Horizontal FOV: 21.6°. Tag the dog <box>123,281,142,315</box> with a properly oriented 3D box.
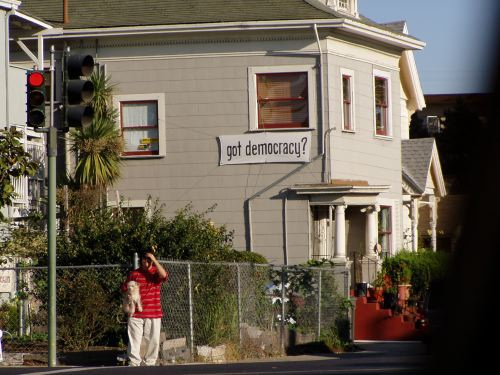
[{"bbox_3d":[-2.586,2.373,28.728,0.352,0.700,0.677,1,-15,-15],"label":"dog"}]

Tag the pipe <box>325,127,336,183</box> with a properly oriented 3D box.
[{"bbox_3d":[2.347,-1.009,39.346,0.239,1.606,0.245,-1,-6,3],"label":"pipe"}]

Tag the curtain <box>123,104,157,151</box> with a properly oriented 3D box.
[{"bbox_3d":[-3.371,-1.886,40.083,1.035,1.445,0.165,-1,-6,5],"label":"curtain"}]

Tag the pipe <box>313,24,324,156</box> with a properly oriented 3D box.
[{"bbox_3d":[2.064,-2.917,39.448,0.364,3.539,0.315,-3,0,44],"label":"pipe"}]

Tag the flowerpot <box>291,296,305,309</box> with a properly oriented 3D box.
[{"bbox_3d":[1.195,2.823,33.024,0.285,0.253,0.301,2,4,41],"label":"flowerpot"}]

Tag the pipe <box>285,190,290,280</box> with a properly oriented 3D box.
[{"bbox_3d":[1.105,1.134,39.280,0.146,2.148,0.048,0,-6,1],"label":"pipe"}]

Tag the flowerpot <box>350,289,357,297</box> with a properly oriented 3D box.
[{"bbox_3d":[3.086,3.102,39.448,0.146,0.292,0.280,-1,-3,31],"label":"flowerpot"}]

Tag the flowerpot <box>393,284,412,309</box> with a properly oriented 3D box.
[{"bbox_3d":[4.472,3.158,38.794,0.521,0.741,0.540,-1,-6,7],"label":"flowerpot"}]

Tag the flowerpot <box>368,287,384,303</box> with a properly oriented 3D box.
[{"bbox_3d":[3.750,3.157,39.372,0.421,0.447,0.610,-1,-7,2],"label":"flowerpot"}]

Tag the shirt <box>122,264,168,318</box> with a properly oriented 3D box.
[{"bbox_3d":[-2.350,2.334,29.132,0.763,1.281,0.839,2,-9,-10],"label":"shirt"}]

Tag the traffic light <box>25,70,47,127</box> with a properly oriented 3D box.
[{"bbox_3d":[-4.601,-1.939,28.096,0.423,1.363,0.435,-3,-4,40],"label":"traffic light"}]

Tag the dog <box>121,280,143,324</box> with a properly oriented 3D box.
[{"bbox_3d":[-2.580,2.463,28.771,0.434,0.950,0.229,0,-6,-2],"label":"dog"}]
